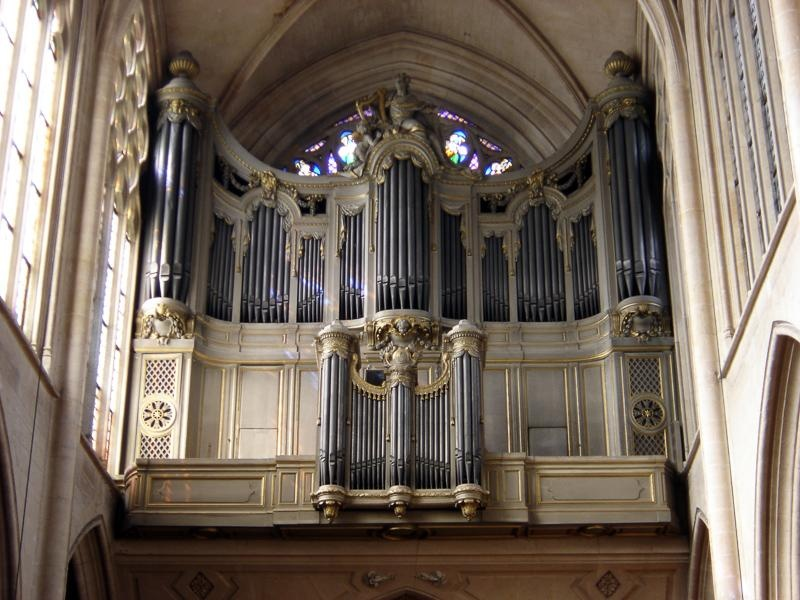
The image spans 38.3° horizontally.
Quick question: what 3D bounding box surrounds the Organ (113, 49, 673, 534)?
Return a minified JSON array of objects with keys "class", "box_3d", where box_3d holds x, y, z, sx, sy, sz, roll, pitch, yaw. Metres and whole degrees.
[{"class":"Organ","box_3d":[-0.028,-0.214,22.595,10.081,11.008,2.444,0,-31,0]}]
